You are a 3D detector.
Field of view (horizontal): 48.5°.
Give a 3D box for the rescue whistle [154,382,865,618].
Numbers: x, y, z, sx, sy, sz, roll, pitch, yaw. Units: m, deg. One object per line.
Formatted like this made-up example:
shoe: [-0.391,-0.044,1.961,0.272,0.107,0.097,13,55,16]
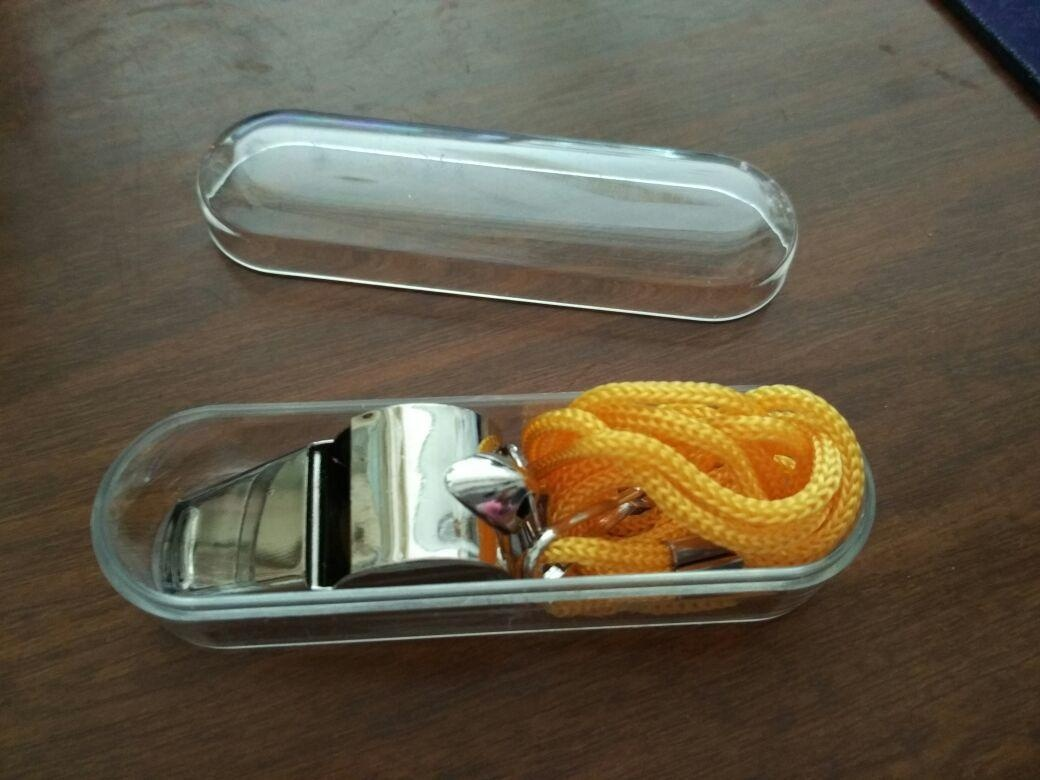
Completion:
rescue whistle: [-0.002,0.142,1.092,0.680,0.106,0.111,-4,51,3]
